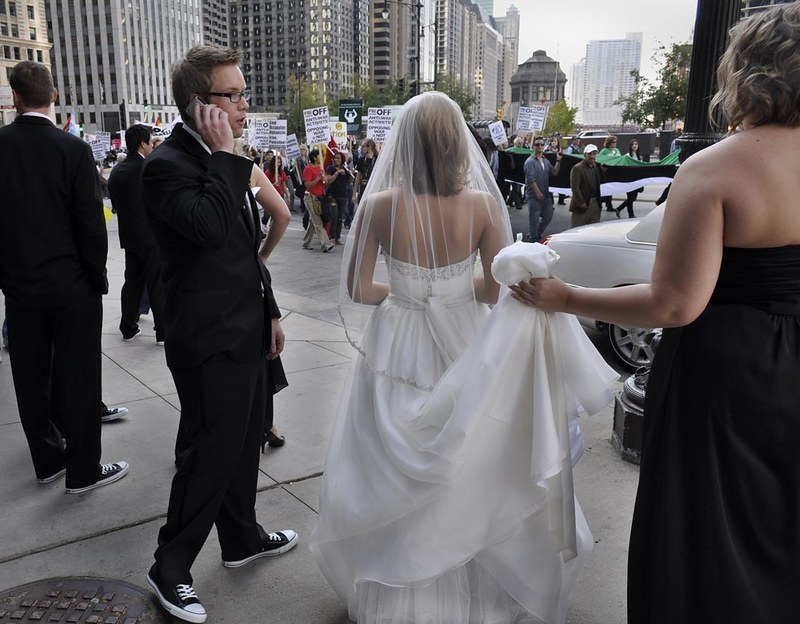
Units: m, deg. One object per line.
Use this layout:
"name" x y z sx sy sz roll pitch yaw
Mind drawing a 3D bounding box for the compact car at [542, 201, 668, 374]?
"compact car" 2.475 -0.250 6.035 1.889 1.145 1.057 -7 11 0

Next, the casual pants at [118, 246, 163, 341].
"casual pants" -2.828 -0.377 6.601 0.445 1.424 0.346 6 30 -8

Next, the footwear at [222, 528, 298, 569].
"footwear" -0.762 1.275 3.329 0.392 0.182 0.149 -14 15 -35

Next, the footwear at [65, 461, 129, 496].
"footwear" -1.991 1.071 3.992 0.124 0.174 0.386 4 13 35
